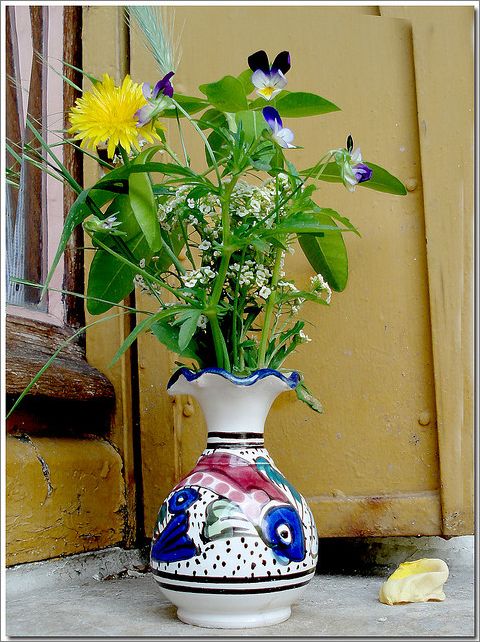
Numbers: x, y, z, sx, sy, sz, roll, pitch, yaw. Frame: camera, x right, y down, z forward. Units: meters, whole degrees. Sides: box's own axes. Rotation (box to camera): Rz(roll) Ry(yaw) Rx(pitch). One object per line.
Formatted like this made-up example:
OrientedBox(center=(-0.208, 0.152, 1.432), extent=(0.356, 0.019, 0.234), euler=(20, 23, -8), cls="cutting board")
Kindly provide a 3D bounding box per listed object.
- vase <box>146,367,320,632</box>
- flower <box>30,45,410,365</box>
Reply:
OrientedBox(center=(-0.008, 0.235, 1.249), extent=(0.235, 0.342, 0.245), euler=(-2, -7, -13), cls="vase")
OrientedBox(center=(-0.063, -0.135, 1.338), extent=(0.470, 0.480, 0.479), euler=(0, 0, -14), cls="flower")
